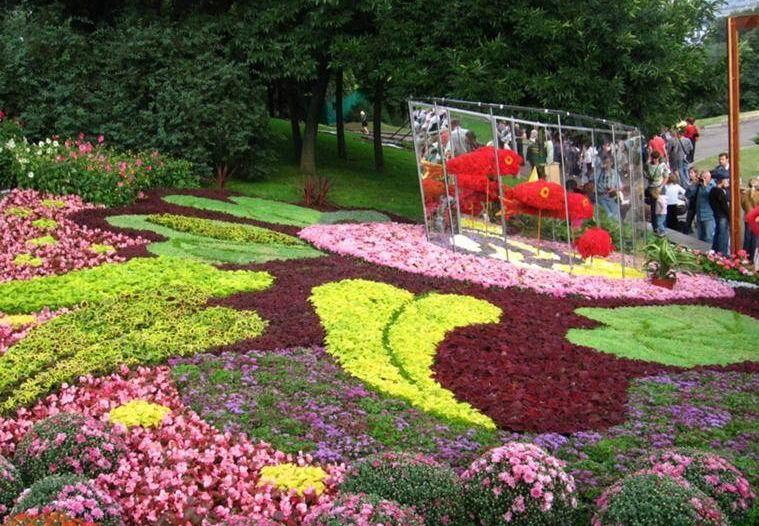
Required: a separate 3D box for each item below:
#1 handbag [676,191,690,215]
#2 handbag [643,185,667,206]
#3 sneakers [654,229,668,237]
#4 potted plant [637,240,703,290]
[{"bbox_3d":[8.184,-1.636,23.340,0.239,0.638,0.476,2,3,7],"label":"handbag"},{"bbox_3d":[6.895,-1.703,21.663,0.477,0.223,0.646,5,23,22],"label":"handbag"},{"bbox_3d":[6.951,-0.767,21.387,0.259,0.234,0.251,0,-1,-6],"label":"sneakers"},{"bbox_3d":[5.915,0.078,17.833,0.978,0.644,1.083,-3,23,13],"label":"potted plant"}]
